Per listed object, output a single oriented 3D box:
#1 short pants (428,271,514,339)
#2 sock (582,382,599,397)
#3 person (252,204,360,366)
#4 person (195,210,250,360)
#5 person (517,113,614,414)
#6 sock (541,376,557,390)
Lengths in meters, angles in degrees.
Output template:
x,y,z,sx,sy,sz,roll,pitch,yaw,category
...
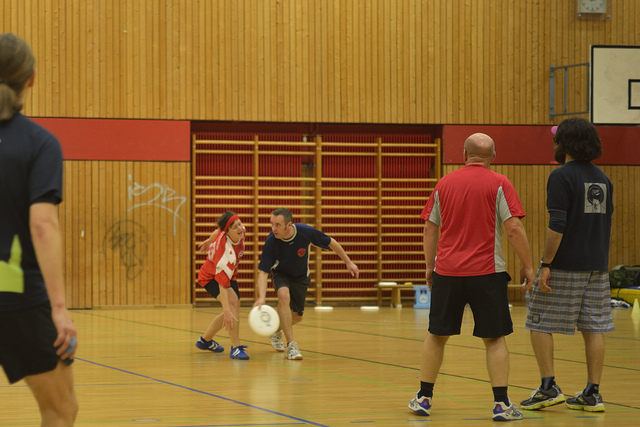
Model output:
x,y,z,sx,sy,sz,roll,pitch,yaw,category
1.589,0.937,11.364,0.932,0.785,0.368,2,15,8,short pants
2.960,1.949,11.477,0.162,0.157,0.060,0,10,2,sock
-0.448,0.858,13.508,1.513,1.930,1.063,-6,14,-40,person
-1.286,0.913,13.238,0.675,1.917,1.174,-1,10,-7,person
2.759,0.572,11.506,0.929,3.170,0.863,1,10,7,person
2.491,1.871,11.511,0.179,0.137,0.132,6,12,31,sock
